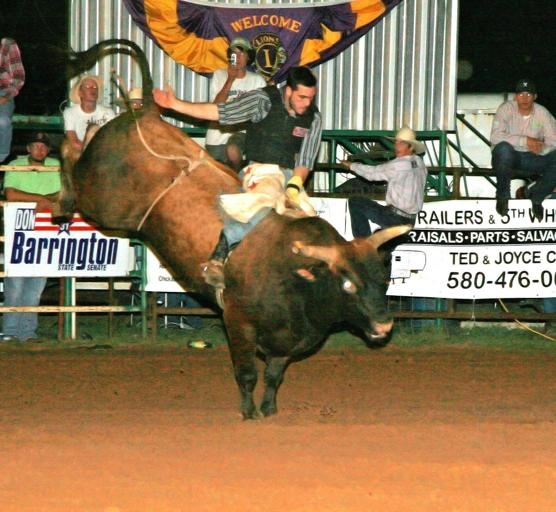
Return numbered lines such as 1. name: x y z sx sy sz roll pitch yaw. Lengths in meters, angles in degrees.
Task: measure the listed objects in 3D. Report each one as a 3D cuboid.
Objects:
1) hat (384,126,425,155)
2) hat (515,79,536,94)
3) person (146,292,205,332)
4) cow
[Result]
1. hat: 1.833 -1.536 15.333 0.439 0.138 0.369 23 -5 -36
2. hat: 3.555 -2.413 16.223 0.221 0.133 0.294 6 9 19
3. person: -1.491 0.811 16.530 0.746 0.688 0.220 4 12 5
4. cow: -0.559 -0.292 12.271 4.215 3.999 1.068 11 16 40
